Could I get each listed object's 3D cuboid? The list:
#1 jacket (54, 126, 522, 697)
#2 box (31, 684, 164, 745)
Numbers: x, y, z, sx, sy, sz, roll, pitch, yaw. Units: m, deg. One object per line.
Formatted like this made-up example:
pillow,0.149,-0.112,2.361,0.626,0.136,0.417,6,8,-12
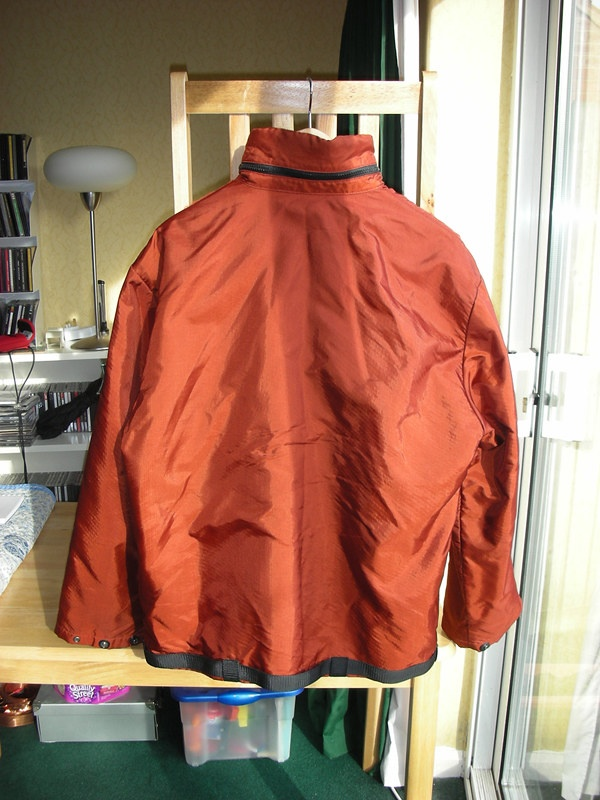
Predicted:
jacket,-0.017,0.020,1.128,0.710,0.834,0.245,2,15,10
box,-0.548,0.855,1.947,0.287,0.115,0.191,1,1,-2
